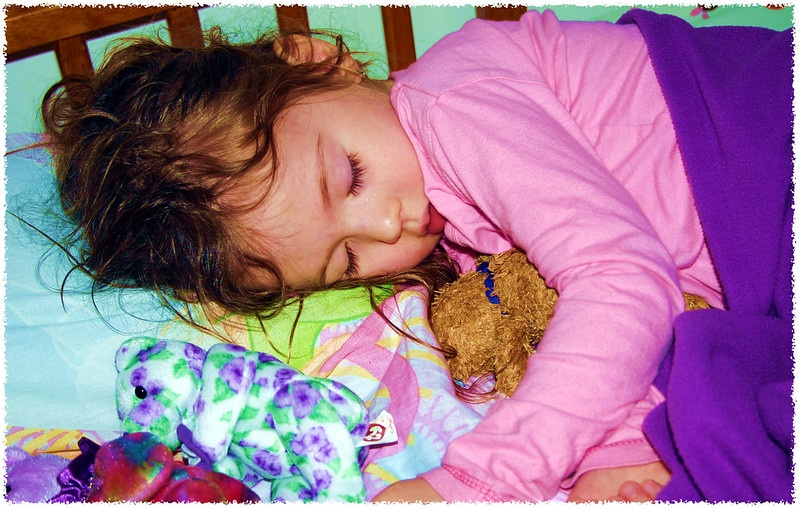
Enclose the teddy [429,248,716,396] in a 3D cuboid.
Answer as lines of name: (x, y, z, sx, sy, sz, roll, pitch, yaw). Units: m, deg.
teddy: (0.310, 0.202, 1.389, 0.433, 0.355, 0.164, 30, -7, 17)
